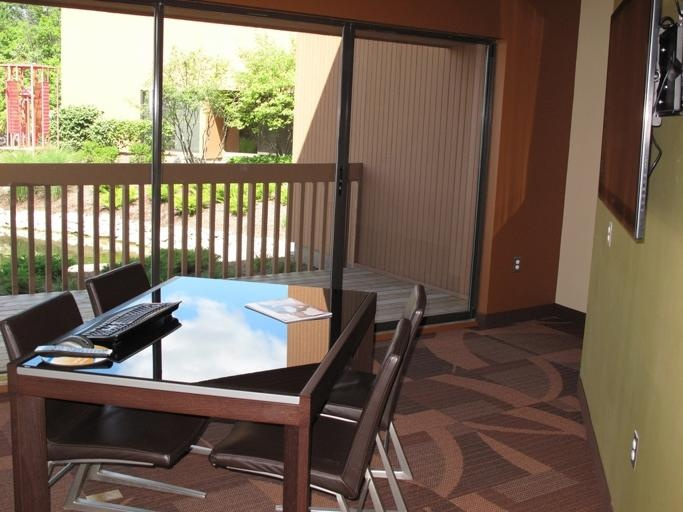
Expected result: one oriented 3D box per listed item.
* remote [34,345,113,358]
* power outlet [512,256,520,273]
[{"bbox_3d":[-0.995,0.353,2.031,0.123,0.019,0.110,4,8,-5],"label":"remote"},{"bbox_3d":[1.673,0.070,5.237,0.104,0.152,0.028,-8,17,-38],"label":"power outlet"}]
